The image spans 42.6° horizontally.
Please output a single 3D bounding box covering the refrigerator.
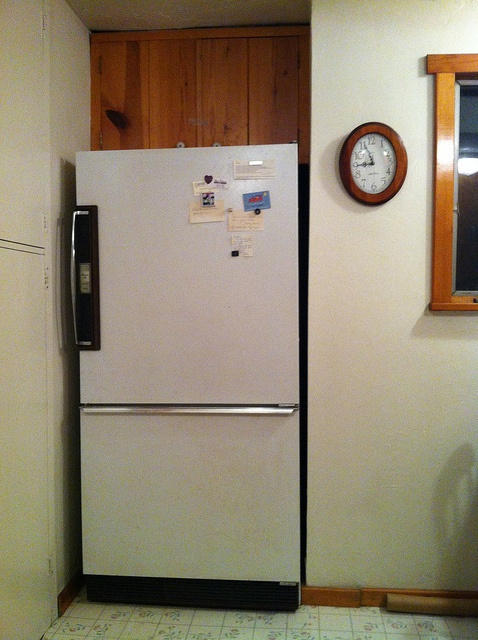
[{"bbox_3d":[-0.207,0.068,2.727,0.910,2.130,1.012,-1,20,-8],"label":"refrigerator"}]

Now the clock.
[{"bbox_3d":[0.510,-0.597,2.310,0.237,0.336,0.039,2,44,18],"label":"clock"}]
